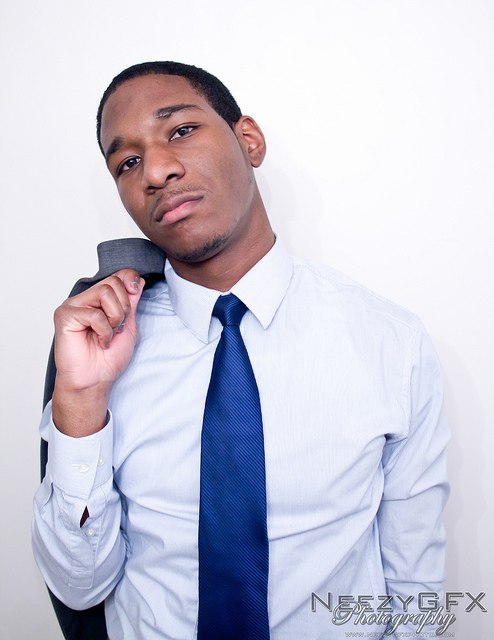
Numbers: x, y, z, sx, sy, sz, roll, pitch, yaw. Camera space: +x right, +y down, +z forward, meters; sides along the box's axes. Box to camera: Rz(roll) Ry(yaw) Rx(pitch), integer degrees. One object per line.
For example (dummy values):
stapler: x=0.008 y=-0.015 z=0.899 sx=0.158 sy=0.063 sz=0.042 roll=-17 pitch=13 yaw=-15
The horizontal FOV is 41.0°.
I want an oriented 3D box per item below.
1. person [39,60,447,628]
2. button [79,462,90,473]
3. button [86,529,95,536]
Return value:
person: x=-0.097 y=0.080 z=1.528 sx=0.949 sy=1.340 sz=0.498 roll=-13 pitch=0 yaw=20
button: x=-0.354 y=0.326 z=1.442 sx=0.022 sy=0.022 sz=0.004 roll=-13 pitch=0 yaw=2
button: x=-0.343 y=0.471 z=1.450 sx=0.012 sy=0.012 sz=0.003 roll=3 pitch=-18 yaw=-18
